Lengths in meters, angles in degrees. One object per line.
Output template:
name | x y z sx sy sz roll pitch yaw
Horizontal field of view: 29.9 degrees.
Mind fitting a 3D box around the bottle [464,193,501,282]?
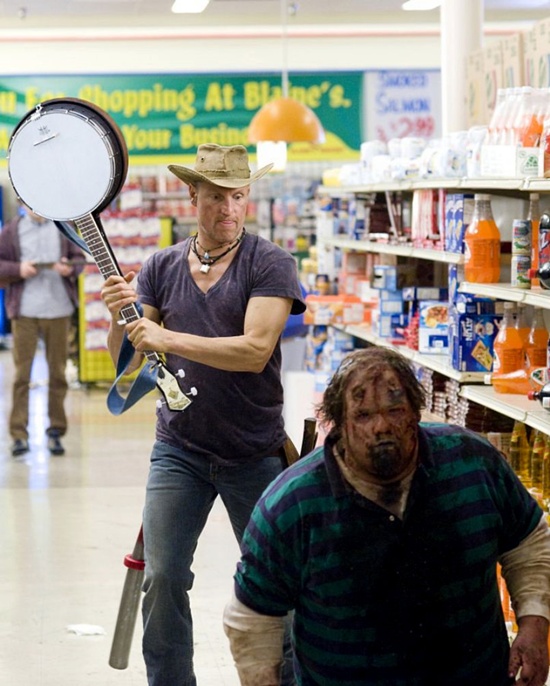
bottle | 0.710 -0.359 3.542 0.106 0.302 0.218 0 7 -5

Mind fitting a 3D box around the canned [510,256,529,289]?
canned | 0.765 -0.221 3.203 0.050 0.097 0.114 1 6 6

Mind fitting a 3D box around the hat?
hat | -0.147 -0.501 2.875 0.288 0.106 0.316 10 15 41

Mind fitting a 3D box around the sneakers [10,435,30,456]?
sneakers | -1.664 0.678 6.767 0.100 0.128 0.035 -1 -29 2

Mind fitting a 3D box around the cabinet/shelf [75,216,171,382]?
cabinet/shelf | -1.460 -0.449 9.684 1.116 1.841 0.484 -2 -1 1
